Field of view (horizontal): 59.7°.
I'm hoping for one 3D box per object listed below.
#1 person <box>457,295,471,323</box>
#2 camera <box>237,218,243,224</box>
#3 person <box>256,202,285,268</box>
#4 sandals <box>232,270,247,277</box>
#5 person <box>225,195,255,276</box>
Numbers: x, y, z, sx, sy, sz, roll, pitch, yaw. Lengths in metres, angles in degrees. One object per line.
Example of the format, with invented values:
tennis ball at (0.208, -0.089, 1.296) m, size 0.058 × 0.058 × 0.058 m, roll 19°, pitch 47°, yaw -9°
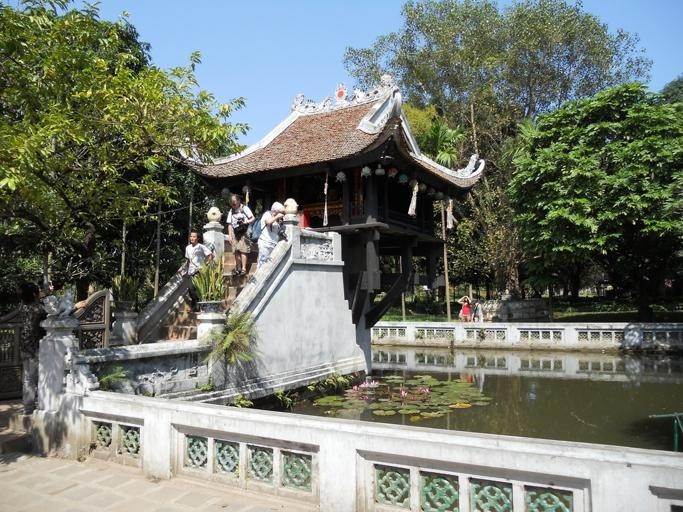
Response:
person at (6.270, 2.663, 29.929) m, size 0.464 × 1.318 × 1.990 m, roll 2°, pitch 0°, yaw 13°
camera at (-2.415, -0.845, 14.211) m, size 0.109 × 0.117 × 0.116 m, roll -3°, pitch -3°, yaw 29°
person at (-1.633, -0.518, 14.068) m, size 0.596 × 1.495 × 0.662 m, roll 2°, pitch 0°, yaw -22°
sandals at (-2.422, 0.405, 14.120) m, size 0.345 × 0.175 × 0.135 m, roll 2°, pitch -1°, yaw 13°
person at (-2.435, -0.524, 14.411) m, size 0.615 × 1.865 × 0.795 m, roll 2°, pitch 0°, yaw -18°
